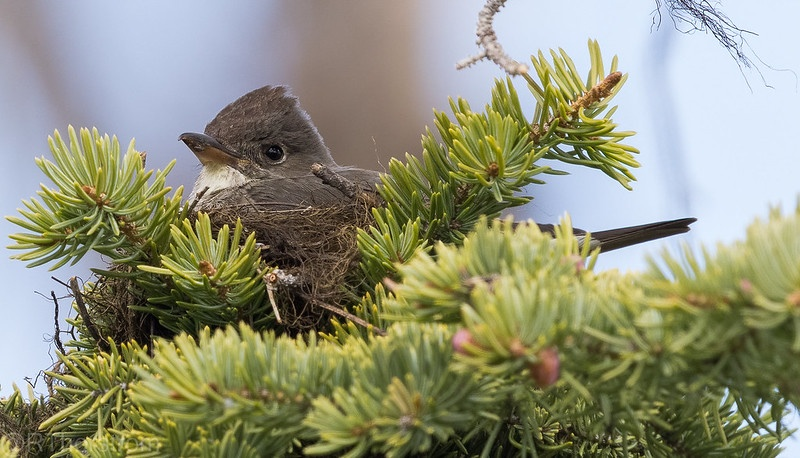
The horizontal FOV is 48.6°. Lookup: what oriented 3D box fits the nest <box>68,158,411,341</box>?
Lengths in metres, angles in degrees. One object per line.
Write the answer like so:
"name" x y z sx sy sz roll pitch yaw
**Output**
"nest" -0.384 -0.052 2.789 0.592 0.269 0.555 -19 13 -17
